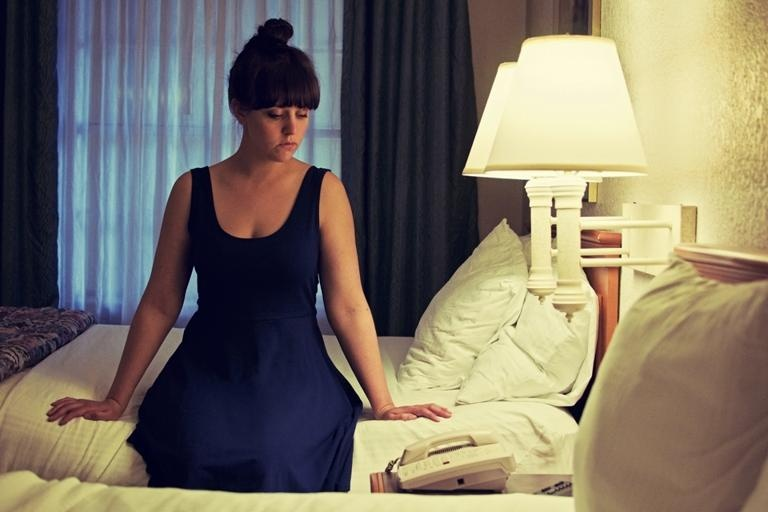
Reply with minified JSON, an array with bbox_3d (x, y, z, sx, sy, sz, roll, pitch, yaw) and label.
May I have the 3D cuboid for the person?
[{"bbox_3d":[-0.439,-0.025,2.370,1.042,1.530,0.551,2,8,7],"label":"person"}]

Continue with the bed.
[{"bbox_3d":[-0.212,0.442,2.614,1.544,0.647,1.060,2,13,2],"label":"bed"}]

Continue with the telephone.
[{"bbox_3d":[0.200,0.590,2.045,0.228,0.096,0.185,4,-3,1],"label":"telephone"}]

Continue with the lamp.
[{"bbox_3d":[0.649,-0.299,2.482,0.751,1.010,1.150,2,-2,-4],"label":"lamp"}]
